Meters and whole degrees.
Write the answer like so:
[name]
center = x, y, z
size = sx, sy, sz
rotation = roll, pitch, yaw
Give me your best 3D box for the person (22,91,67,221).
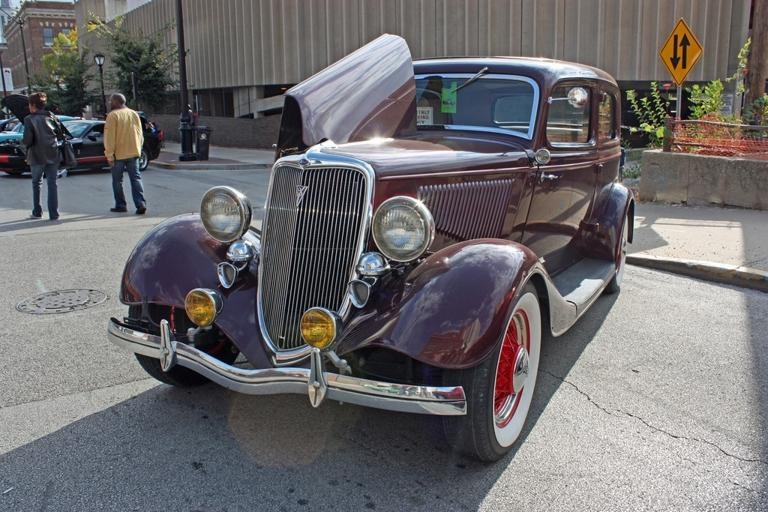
[person]
center = -6.511, -1.968, 10.047
size = 0.740, 2.329, 1.550
rotation = -9, 19, -31
